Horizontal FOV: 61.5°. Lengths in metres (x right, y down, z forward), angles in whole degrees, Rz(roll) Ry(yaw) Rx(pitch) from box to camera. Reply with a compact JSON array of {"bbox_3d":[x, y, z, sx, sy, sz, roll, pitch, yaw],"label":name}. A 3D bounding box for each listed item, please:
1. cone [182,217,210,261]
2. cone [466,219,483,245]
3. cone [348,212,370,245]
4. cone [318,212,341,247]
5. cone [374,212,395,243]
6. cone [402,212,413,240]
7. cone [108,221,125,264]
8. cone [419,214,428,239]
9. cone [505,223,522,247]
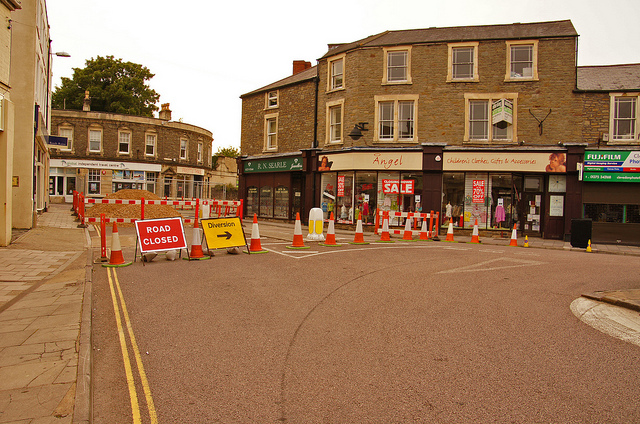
[{"bbox_3d":[-3.617,0.946,16.729,0.889,1.309,0.901,1,-4,-21],"label":"cone"},{"bbox_3d":[6.851,0.934,23.178,0.748,1.057,0.784,0,-1,11],"label":"cone"},{"bbox_3d":[1.672,0.742,20.740,0.870,1.236,0.904,0,-3,-5],"label":"cone"},{"bbox_3d":[0.402,0.736,19.616,0.780,0.963,0.795,-1,2,-13],"label":"cone"},{"bbox_3d":[2.685,0.661,21.871,0.791,1.091,0.701,-1,2,8],"label":"cone"},{"bbox_3d":[3.862,0.595,23.243,0.401,1.137,1.039,0,2,9],"label":"cone"},{"bbox_3d":[-5.829,0.851,15.319,0.392,1.189,0.581,-2,2,-22],"label":"cone"},{"bbox_3d":[4.592,0.640,23.475,0.353,1.060,0.518,0,2,11],"label":"cone"},{"bbox_3d":[8.298,0.993,22.393,0.710,0.999,0.742,0,-2,21],"label":"cone"}]
